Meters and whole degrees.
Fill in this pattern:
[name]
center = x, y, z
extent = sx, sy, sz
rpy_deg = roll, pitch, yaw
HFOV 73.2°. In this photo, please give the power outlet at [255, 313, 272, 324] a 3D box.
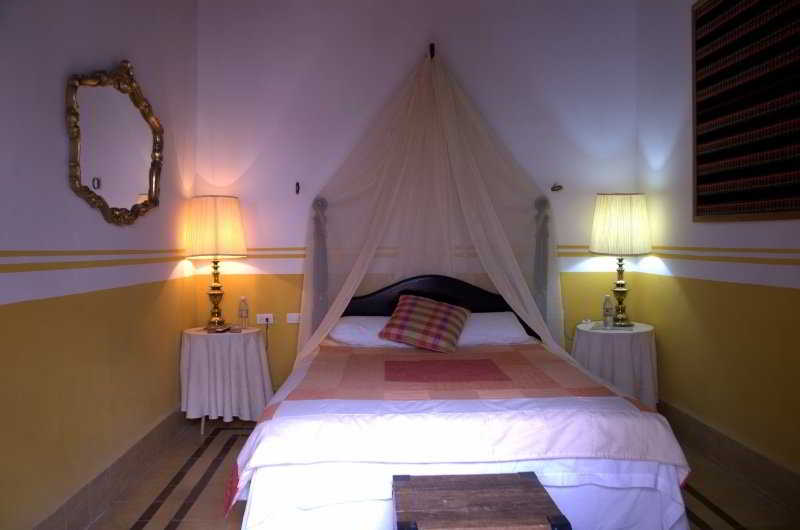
[power outlet]
center = -1.236, 0.493, 4.884
extent = 0.155, 0.112, 0.085
rpy_deg = 1, 3, 1
